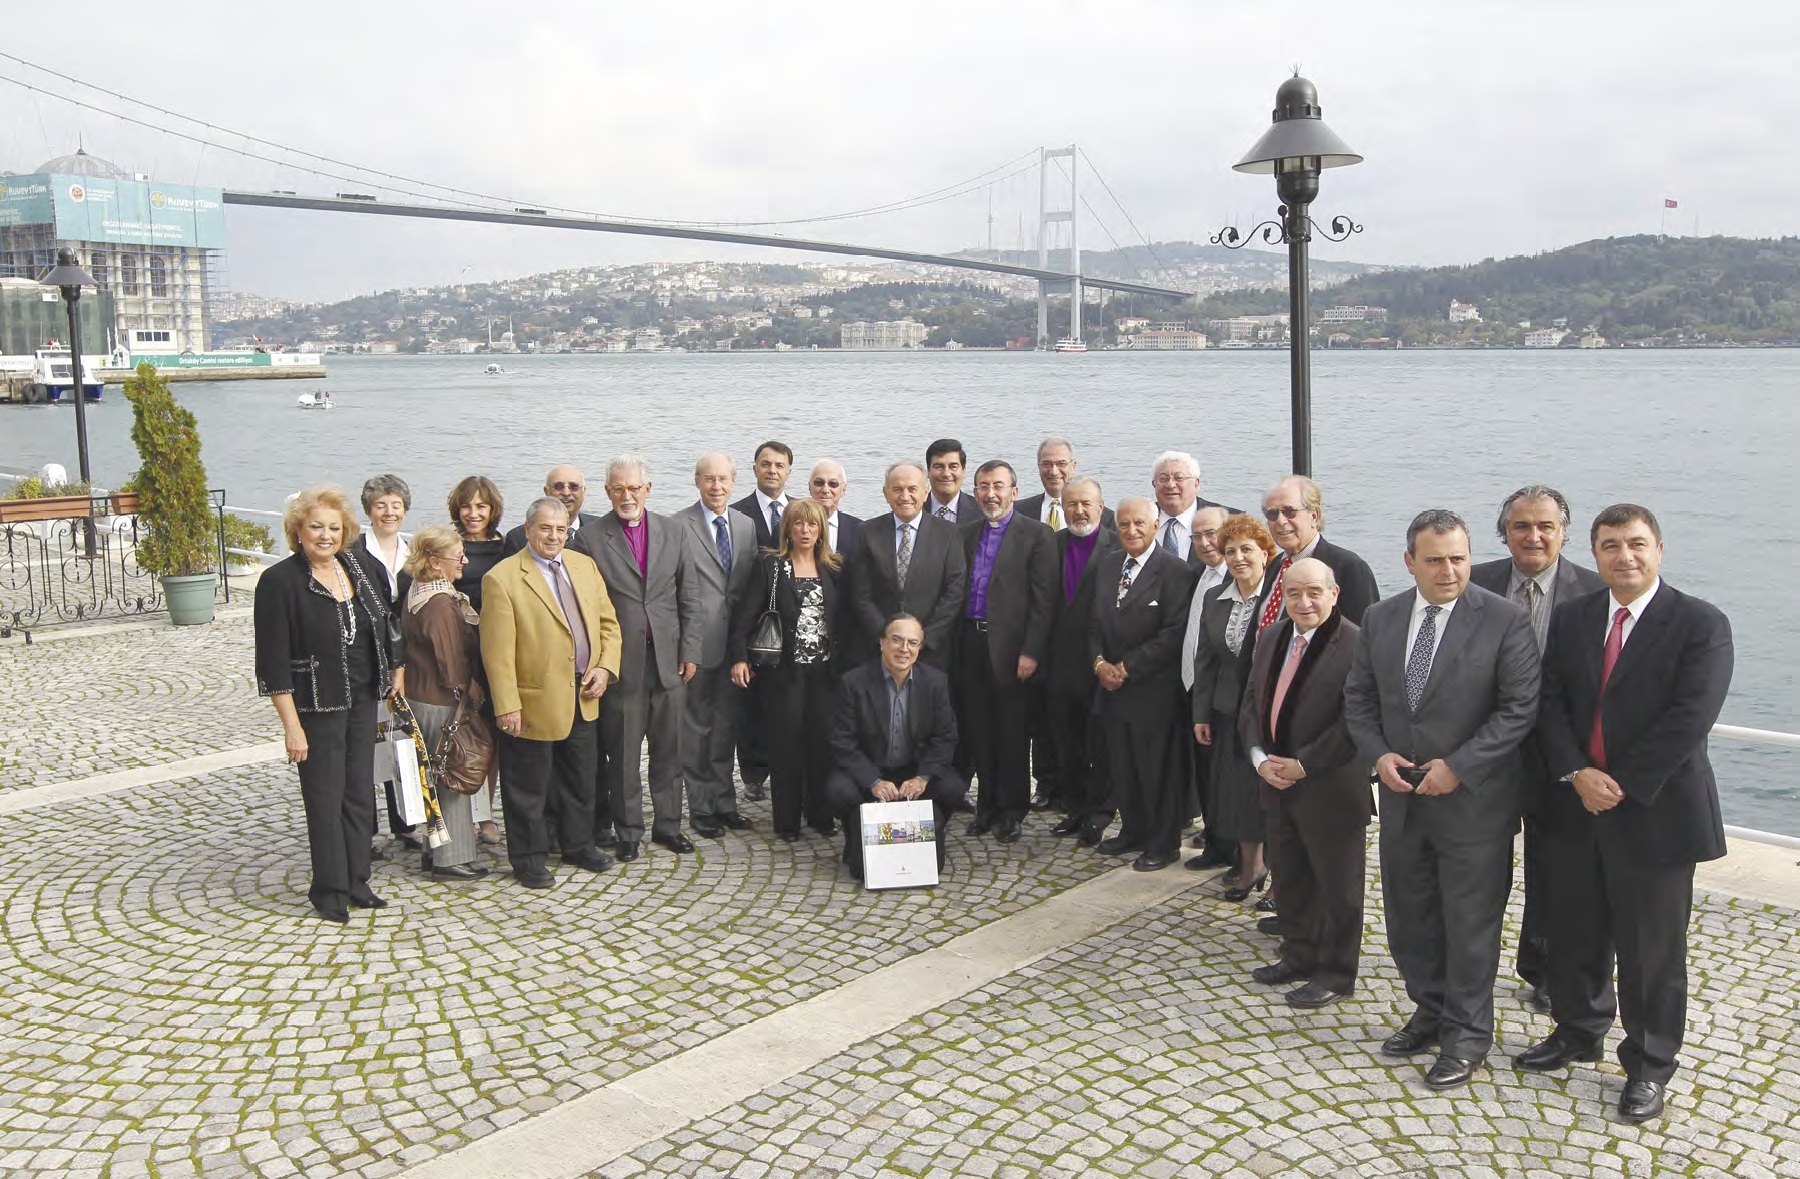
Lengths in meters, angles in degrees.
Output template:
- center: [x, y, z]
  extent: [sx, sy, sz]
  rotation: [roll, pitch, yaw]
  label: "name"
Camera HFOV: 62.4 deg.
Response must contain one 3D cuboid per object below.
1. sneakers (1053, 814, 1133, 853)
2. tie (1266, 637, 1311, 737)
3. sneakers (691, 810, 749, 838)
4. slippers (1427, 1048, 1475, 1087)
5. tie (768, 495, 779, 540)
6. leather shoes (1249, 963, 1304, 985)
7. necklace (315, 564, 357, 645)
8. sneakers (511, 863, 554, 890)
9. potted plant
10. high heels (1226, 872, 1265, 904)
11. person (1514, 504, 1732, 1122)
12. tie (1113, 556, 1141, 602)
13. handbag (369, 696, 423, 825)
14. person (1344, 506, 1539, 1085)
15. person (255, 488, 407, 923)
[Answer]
- center: [1.234, 1.564, 9.594]
  extent: [0.361, 0.130, 0.188]
  rotation: [1, 4, -42]
  label: "sneakers"
- center: [2.009, 0.447, 7.680]
  extent: [0.101, 0.626, 0.113]
  rotation: [18, -1, -22]
  label: "tie"
- center: [-1.181, 1.528, 9.735]
  extent: [0.428, 0.159, 0.128]
  rotation: [-3, 11, -6]
  label: "sneakers"
- center: [2.544, 2.196, 6.884]
  extent: [0.252, 0.134, 0.115]
  rotation: [-10, 12, -37]
  label: "slippers"
- center: [-0.851, -0.495, 10.161]
  extent: [0.058, 0.329, 0.051]
  rotation: [1, -9, -3]
  label: "tie"
- center: [1.951, 1.968, 7.742]
  extent: [0.286, 0.104, 0.098]
  rotation: [4, 9, 5]
  label: "leather shoes"
- center: [-3.165, 0.082, 8.374]
  extent: [0.102, 0.392, 0.239]
  rotation: [-18, -15, 36]
  label: "necklace"
- center: [-2.182, 1.708, 8.920]
  extent: [0.245, 0.092, 0.130]
  rotation: [-3, 0, 43]
  label: "sneakers"
- center: [-7.493, -0.942, 15.291]
  extent: [0.739, 2.628, 0.562]
  rotation: [-8, 12, -25]
  label: "potted plant"
- center: [2.006, 1.706, 8.662]
  extent: [0.240, 0.126, 0.204]
  rotation: [0, 10, 12]
  label: "high heels"
- center: [3.256, 0.976, 6.747]
  extent: [0.782, 2.659, 0.739]
  rotation: [6, 14, 40]
  label: "person"
- center: [1.398, -0.065, 9.081]
  extent: [0.077, 0.099, 0.334]
  rotation: [16, 53, 28]
  label: "tie"
- center: [-2.921, 1.022, 8.758]
  extent: [0.308, 0.727, 0.449]
  rotation: [0, 6, -2]
  label: "handbag"
- center: [2.521, 0.936, 7.043]
  extent: [0.757, 2.564, 0.721]
  rotation: [6, 14, 40]
  label: "person"
- center: [-3.239, 0.633, 8.471]
  extent: [0.460, 2.388, 0.649]
  rotation: [2, 12, 25]
  label: "person"
